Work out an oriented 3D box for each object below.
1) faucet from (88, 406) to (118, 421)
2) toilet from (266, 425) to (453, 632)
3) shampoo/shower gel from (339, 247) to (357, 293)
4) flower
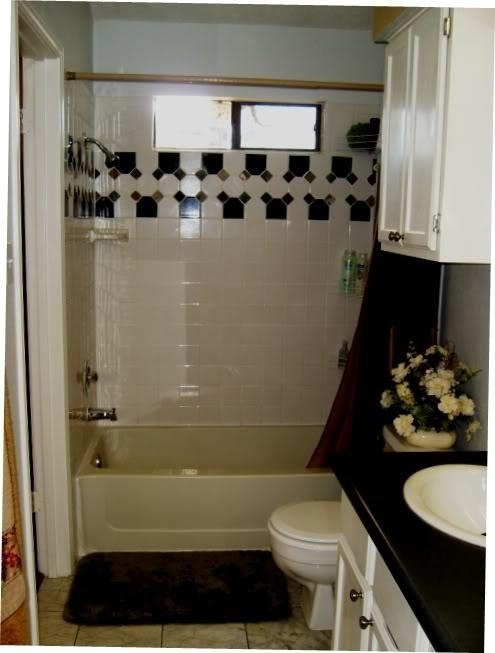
[{"bbox_3d":[-0.743,0.446,2.834,0.148,0.074,0.114,1,2,7],"label":"faucet"},{"bbox_3d":[0.387,0.813,2.181,0.549,0.630,0.368,-1,5,3],"label":"toilet"},{"bbox_3d":[0.601,-0.321,3.297,0.090,0.247,0.035,0,7,-13],"label":"shampoo/shower gel"},{"bbox_3d":[0.694,0.299,2.144,0.296,0.321,0.313,-10,15,-15],"label":"flower"}]
